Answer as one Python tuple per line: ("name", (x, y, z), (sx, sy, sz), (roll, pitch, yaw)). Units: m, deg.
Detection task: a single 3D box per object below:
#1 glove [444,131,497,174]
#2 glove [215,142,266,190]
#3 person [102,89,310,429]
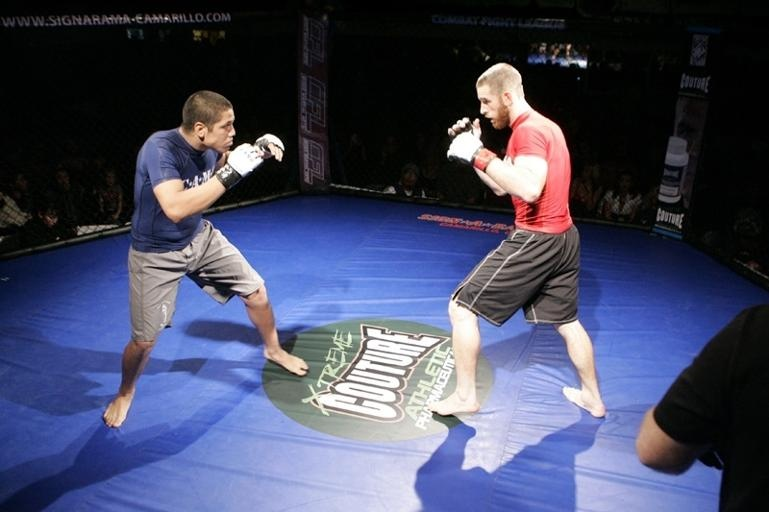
("glove", (0.548, -0.666, 3.149), (0.222, 0.122, 0.308), (-43, 41, -5))
("glove", (-0.925, -0.582, 3.256), (0.231, 0.136, 0.378), (32, 58, 7))
("person", (-1.286, 0.010, 3.351), (1.202, 2.179, 0.559), (-5, 16, -31))
